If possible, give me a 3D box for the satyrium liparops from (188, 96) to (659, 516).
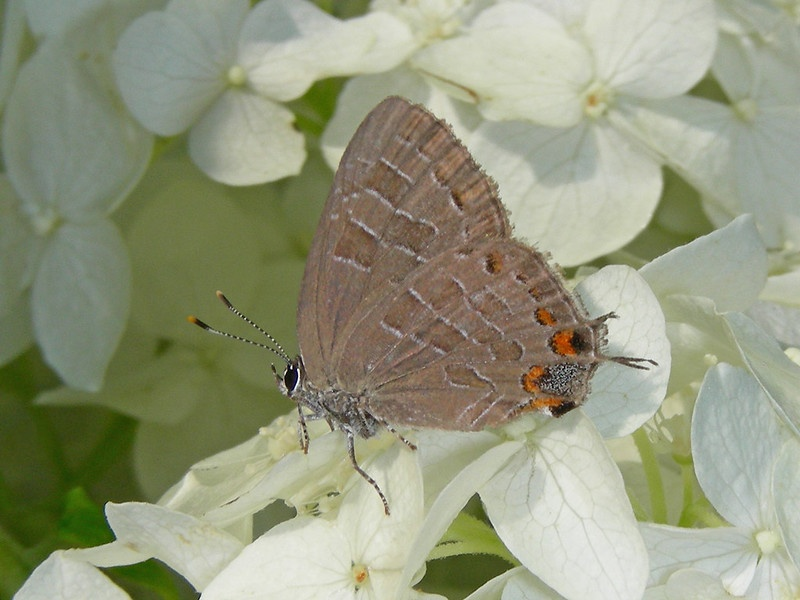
[{"bbox_3d":[0.001,-0.002,1.122,0.448,0.458,0.385,-3,87,-9],"label":"satyrium liparops"}]
